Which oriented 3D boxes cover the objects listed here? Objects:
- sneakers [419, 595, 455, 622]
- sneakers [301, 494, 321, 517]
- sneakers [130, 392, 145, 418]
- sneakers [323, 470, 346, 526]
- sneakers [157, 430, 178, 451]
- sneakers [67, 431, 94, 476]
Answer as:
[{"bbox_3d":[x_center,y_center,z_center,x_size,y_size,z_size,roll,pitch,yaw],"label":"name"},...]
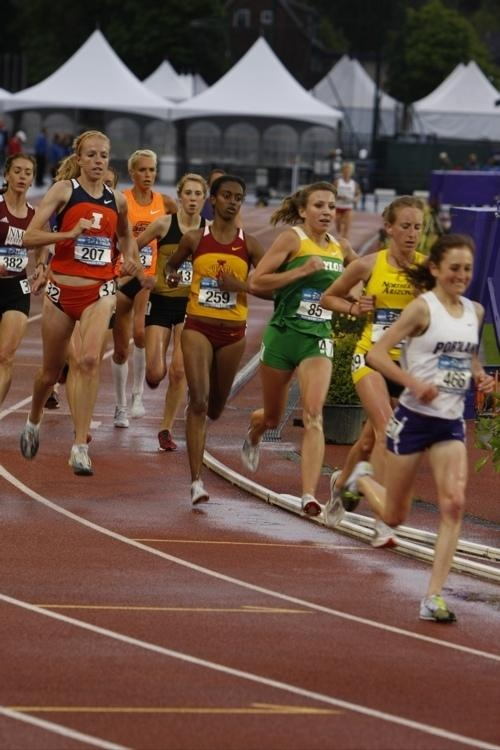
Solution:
[{"bbox_3d":[0.840,1.056,3.251,0.094,0.080,0.180,2,-8,-14],"label":"sneakers"},{"bbox_3d":[0.386,0.843,4.589,0.109,0.137,0.124,3,1,0],"label":"sneakers"},{"bbox_3d":[-1.273,0.327,8.091,0.120,0.142,0.347,-2,43,-5],"label":"sneakers"},{"bbox_3d":[0.516,0.773,4.402,0.128,0.352,0.143,2,6,-6],"label":"sneakers"},{"bbox_3d":[-0.789,0.632,6.782,0.105,0.124,0.270,-6,4,-16],"label":"sneakers"},{"bbox_3d":[-1.198,0.591,5.056,0.150,0.264,0.305,2,1,-14],"label":"sneakers"}]
